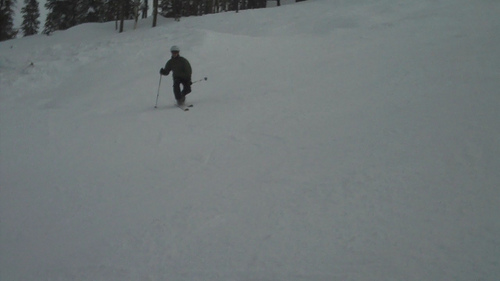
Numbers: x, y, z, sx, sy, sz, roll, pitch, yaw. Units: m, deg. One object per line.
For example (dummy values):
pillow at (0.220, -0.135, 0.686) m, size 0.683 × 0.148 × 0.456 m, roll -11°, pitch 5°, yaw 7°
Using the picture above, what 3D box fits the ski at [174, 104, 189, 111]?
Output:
ski at (-2.595, -1.322, 15.733) m, size 0.054 × 0.110 × 0.488 m, roll 21°, pitch 13°, yaw -47°

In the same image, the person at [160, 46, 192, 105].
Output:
person at (-2.837, -2.600, 15.926) m, size 1.055 × 2.181 × 0.947 m, roll -12°, pitch 21°, yaw -31°
